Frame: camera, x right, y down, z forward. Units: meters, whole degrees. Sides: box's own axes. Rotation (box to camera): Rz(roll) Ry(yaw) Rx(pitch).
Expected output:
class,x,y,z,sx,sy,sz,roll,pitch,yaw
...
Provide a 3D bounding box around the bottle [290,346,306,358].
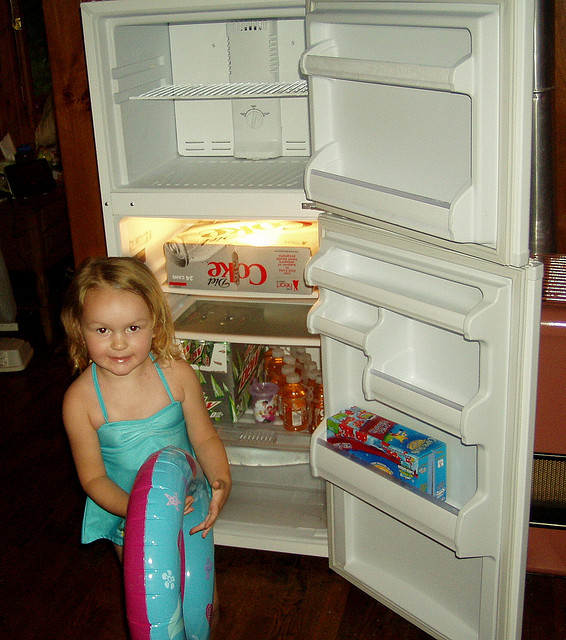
class,x,y,z,sx,sy,sz,roll,pitch,yaw
bottle,0.050,0.095,1.794,0.047,0.039,0.044,-1,15,-1

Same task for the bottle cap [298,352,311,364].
class,x,y,z,sx,sy,sz,roll,pitch,yaw
bottle cap,0.067,0.118,1.750,0.034,0.018,0.032,-5,10,-27

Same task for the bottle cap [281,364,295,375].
class,x,y,z,sx,sy,sz,roll,pitch,yaw
bottle cap,0.017,0.149,1.701,0.031,0.016,0.029,0,13,-1

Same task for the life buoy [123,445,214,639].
class,x,y,z,sx,sy,sz,roll,pitch,yaw
life buoy,-0.184,0.380,0.906,0.094,0.302,0.322,0,0,-3

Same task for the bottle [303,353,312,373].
class,x,y,z,sx,sy,sz,roll,pitch,yaw
bottle,0.076,0.130,1.738,0.045,0.064,0.043,1,-7,0

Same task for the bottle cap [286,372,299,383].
class,x,y,z,sx,sy,sz,roll,pitch,yaw
bottle cap,0.028,0.170,1.665,0.030,0.015,0.030,6,8,42

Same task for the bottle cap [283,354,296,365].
class,x,y,z,sx,sy,sz,roll,pitch,yaw
bottle cap,0.021,0.122,1.723,0.030,0.017,0.028,5,5,-20

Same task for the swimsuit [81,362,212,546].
class,x,y,z,sx,sy,sz,roll,pitch,yaw
swimsuit,-0.310,0.257,1.333,0.264,0.424,0.328,-11,23,-32

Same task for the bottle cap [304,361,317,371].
class,x,y,z,sx,sy,sz,roll,pitch,yaw
bottle cap,0.086,0.140,1.727,0.030,0.016,0.028,0,6,3
